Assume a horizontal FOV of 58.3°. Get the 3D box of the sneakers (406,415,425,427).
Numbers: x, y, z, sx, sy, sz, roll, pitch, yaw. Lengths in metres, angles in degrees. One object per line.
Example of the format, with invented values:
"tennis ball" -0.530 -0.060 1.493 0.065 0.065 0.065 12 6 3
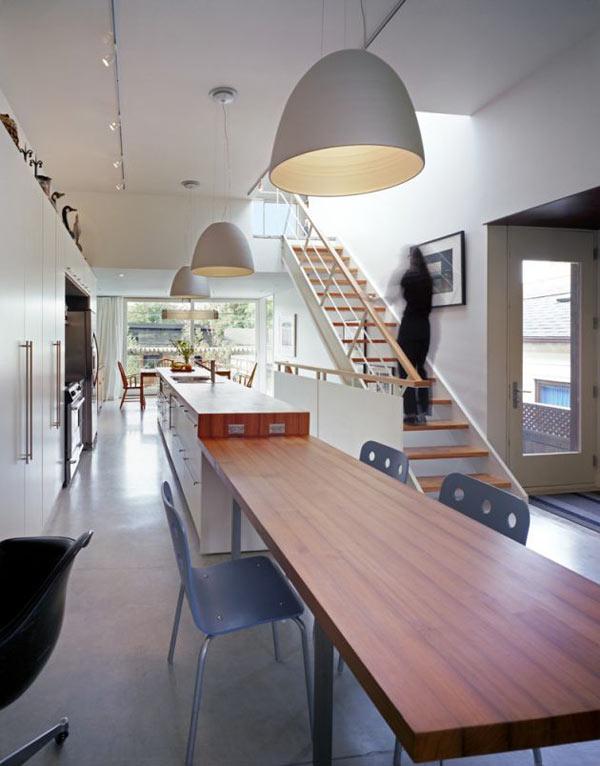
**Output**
"sneakers" 1.115 0.375 5.195 0.124 0.055 0.105 0 2 -11
